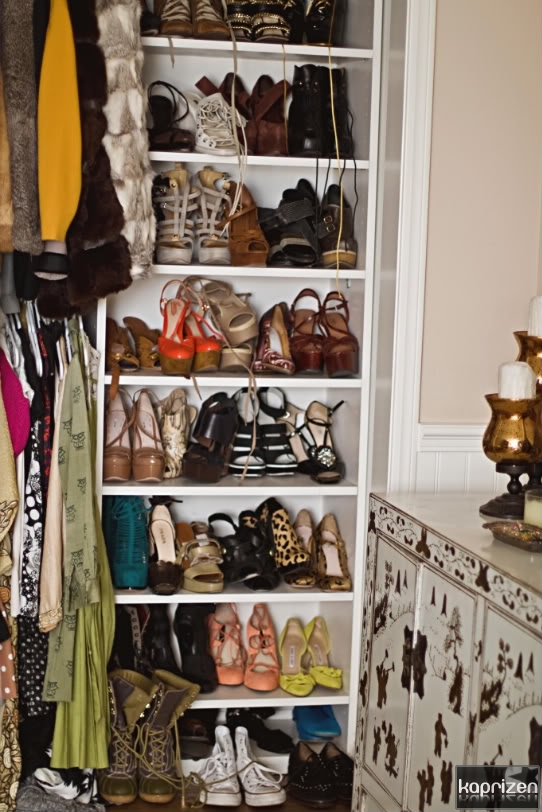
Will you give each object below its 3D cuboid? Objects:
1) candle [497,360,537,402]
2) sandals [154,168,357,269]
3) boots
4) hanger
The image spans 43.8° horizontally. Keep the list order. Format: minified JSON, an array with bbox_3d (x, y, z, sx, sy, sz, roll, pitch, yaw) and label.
[{"bbox_3d":[0.375,-0.041,1.039,0.056,0.068,0.058,-1,6,-2],"label":"candle"},{"bbox_3d":[-0.042,-0.501,1.808,0.519,0.305,0.286,-2,4,-5],"label":"sandals"},{"bbox_3d":[-0.284,0.781,1.642,0.217,0.289,0.224,-2,4,5],"label":"boots"},{"bbox_3d":[-0.500,-0.133,1.538,0.064,0.214,0.135,-6,-11,19],"label":"hanger"}]
